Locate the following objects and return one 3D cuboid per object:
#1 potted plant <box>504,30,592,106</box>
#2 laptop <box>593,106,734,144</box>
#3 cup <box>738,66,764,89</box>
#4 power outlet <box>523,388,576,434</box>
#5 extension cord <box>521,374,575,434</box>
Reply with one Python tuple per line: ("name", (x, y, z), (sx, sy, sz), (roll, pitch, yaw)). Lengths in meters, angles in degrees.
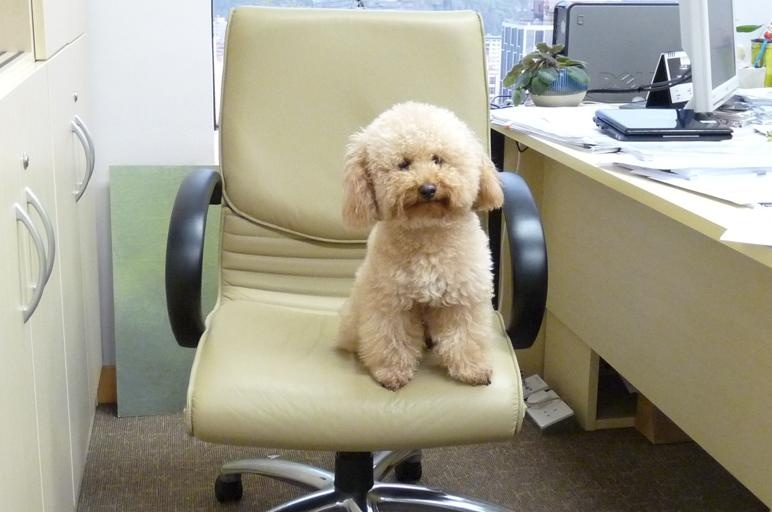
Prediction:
("potted plant", (0.610, -0.692, 2.310), (0.237, 0.189, 0.256), (14, 24, 35))
("laptop", (0.833, -0.400, 1.920), (0.363, 0.065, 0.302), (1, 18, 4))
("cup", (1.429, -0.693, 2.478), (0.093, 0.078, 0.117), (11, 21, 32))
("power outlet", (0.589, 0.557, 2.315), (0.141, 0.120, 0.149), (-4, 19, -19))
("extension cord", (0.577, 0.540, 2.341), (0.119, 0.037, 0.215), (-14, 35, -20))
